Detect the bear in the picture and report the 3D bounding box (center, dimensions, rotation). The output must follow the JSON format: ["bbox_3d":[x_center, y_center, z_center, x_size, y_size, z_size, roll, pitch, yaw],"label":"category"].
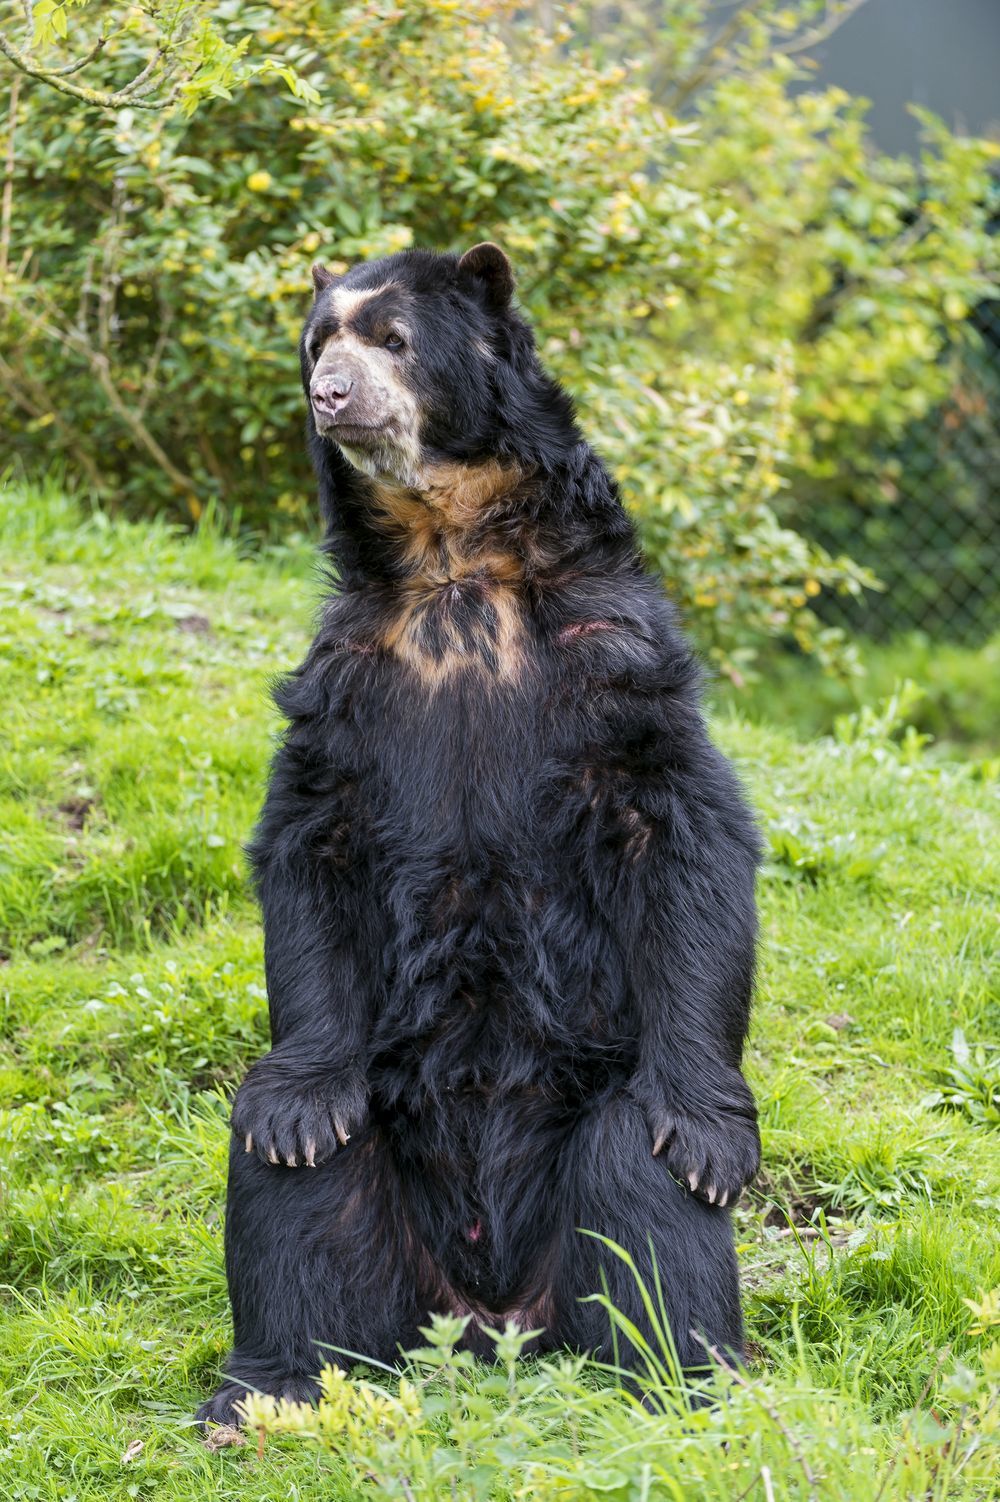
[{"bbox_3d":[0.017,0.052,2.370,0.817,1.793,0.780,4,8,-1],"label":"bear"}]
